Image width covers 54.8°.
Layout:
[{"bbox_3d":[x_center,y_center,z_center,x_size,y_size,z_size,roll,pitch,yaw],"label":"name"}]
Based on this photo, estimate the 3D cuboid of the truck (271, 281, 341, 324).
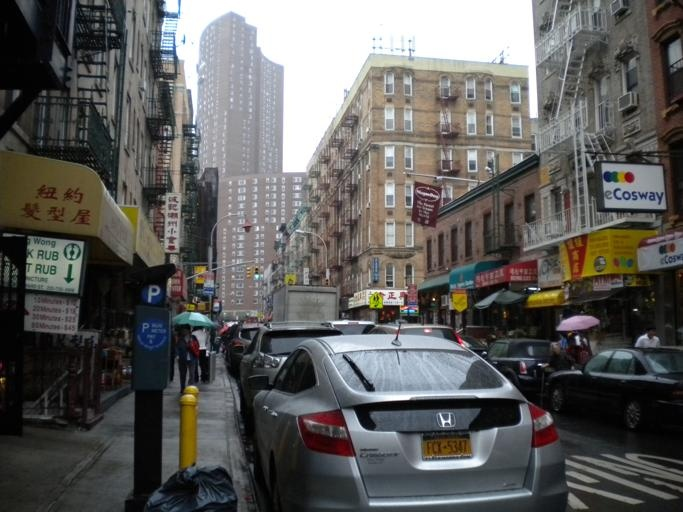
[{"bbox_3d":[-1.898,2.193,30.454,1.480,1.802,2.851,1,-3,-15],"label":"truck"}]
